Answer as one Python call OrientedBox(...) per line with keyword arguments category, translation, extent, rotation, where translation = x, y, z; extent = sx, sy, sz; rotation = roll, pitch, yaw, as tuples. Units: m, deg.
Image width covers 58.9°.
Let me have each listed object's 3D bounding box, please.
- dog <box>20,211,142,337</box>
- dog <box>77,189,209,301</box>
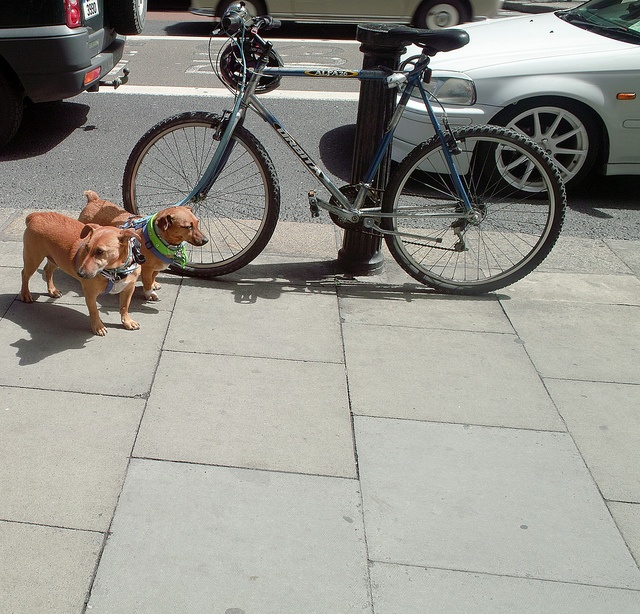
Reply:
OrientedBox(category="dog", translation=(-1.372, -0.235, 3.132), extent=(0.962, 0.580, 0.462), rotation=(23, 25, 31))
OrientedBox(category="dog", translation=(-1.091, -0.367, 3.410), extent=(0.903, 0.586, 0.338), rotation=(19, 23, 20))
